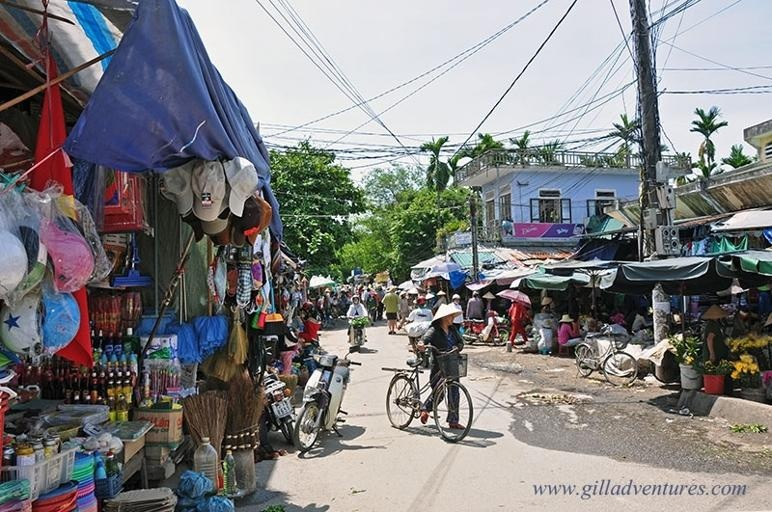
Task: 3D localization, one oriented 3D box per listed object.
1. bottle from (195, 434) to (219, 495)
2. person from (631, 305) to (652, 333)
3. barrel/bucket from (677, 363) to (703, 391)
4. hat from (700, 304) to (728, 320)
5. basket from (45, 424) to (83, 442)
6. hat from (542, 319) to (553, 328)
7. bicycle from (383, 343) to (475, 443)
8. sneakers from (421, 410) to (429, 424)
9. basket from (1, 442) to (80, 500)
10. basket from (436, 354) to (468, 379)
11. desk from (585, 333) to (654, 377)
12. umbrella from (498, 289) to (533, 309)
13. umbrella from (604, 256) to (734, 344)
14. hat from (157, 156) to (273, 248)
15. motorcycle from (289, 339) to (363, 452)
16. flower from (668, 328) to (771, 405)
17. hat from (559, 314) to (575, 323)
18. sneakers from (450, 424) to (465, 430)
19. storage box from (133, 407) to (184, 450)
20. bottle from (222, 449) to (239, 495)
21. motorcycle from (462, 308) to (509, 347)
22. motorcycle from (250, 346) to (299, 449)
[{"bbox_3d":[-2.149,2.484,8.320,0.286,0.624,0.371,-2,3,-14],"label":"bottle"},{"bbox_3d":[6.688,1.669,18.342,0.486,0.851,0.325,-2,19,-18],"label":"person"},{"bbox_3d":[5.431,2.146,12.462,0.417,0.368,0.416,0,2,0],"label":"barrel/bucket"},{"bbox_3d":[5.957,1.011,12.700,0.361,0.227,0.368,-10,2,29],"label":"hat"},{"bbox_3d":[-3.300,1.816,7.121,0.304,0.127,0.310,-2,2,-14],"label":"basket"},{"bbox_3d":[4.507,1.902,19.589,0.253,0.297,0.442,0,2,25],"label":"hat"},{"bbox_3d":[0.680,2.224,11.410,0.915,1.267,1.957,7,-10,-34],"label":"bicycle"},{"bbox_3d":[0.618,2.633,11.416,0.141,0.253,0.258,2,-9,2],"label":"sneakers"},{"bbox_3d":[-3.261,2.016,6.510,0.526,0.353,0.828,-2,-14,4],"label":"basket"},{"bbox_3d":[1.055,1.742,11.030,0.439,0.337,0.370,1,-6,3],"label":"basket"},{"bbox_3d":[5.014,2.144,15.077,1.189,0.747,0.586,-2,-5,29],"label":"desk"},{"bbox_3d":[3.804,1.189,20.657,0.657,0.237,0.678,14,-5,26],"label":"umbrella"},{"bbox_3d":[5.321,0.507,13.018,2.084,1.286,1.884,-3,-3,-45],"label":"umbrella"},{"bbox_3d":[-1.753,-0.599,7.691,0.743,1.123,0.369,-5,41,4],"label":"hat"},{"bbox_3d":[-0.980,2.228,10.860,0.677,1.295,1.558,-1,2,8],"label":"motorcycle"},{"bbox_3d":[5.822,1.862,12.234,1.454,1.082,1.306,-1,-21,3],"label":"flower"},{"bbox_3d":[4.984,1.725,19.190,0.251,0.134,0.247,4,-4,-8],"label":"hat"},{"bbox_3d":[1.105,2.713,11.049,0.289,0.116,0.100,0,2,-3],"label":"sneakers"},{"bbox_3d":[-2.715,2.071,8.561,0.582,0.405,0.610,-2,-5,17],"label":"storage box"},{"bbox_3d":[-1.937,2.674,8.679,0.185,0.535,0.376,-2,2,-14],"label":"bottle"},{"bbox_3d":[3.282,2.408,22.800,1.794,1.172,0.755,-4,-7,28],"label":"motorcycle"},{"bbox_3d":[-1.677,2.240,10.976,0.714,0.936,1.404,-2,2,-8],"label":"motorcycle"}]
